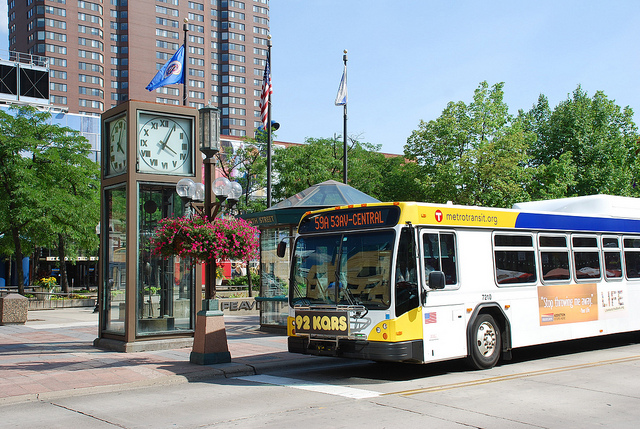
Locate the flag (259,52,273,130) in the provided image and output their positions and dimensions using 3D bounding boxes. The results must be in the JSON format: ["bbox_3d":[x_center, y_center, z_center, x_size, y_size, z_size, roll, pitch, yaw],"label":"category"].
[{"bbox_3d":[-2.481,-5.707,30.004,0.444,3.492,1.498,-1,1,-5],"label":"flag"}]

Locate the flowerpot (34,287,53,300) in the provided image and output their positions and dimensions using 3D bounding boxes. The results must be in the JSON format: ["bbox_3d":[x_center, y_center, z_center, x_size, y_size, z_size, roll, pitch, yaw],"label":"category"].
[{"bbox_3d":[-16.710,4.875,39.943,1.178,0.785,0.627,-1,-6,7],"label":"flowerpot"}]

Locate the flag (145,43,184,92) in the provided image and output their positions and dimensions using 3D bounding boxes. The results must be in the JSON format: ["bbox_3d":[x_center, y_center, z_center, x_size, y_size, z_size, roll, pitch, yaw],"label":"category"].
[{"bbox_3d":[-5.713,-5.261,24.908,1.254,1.828,1.686,3,-2,-20],"label":"flag"}]

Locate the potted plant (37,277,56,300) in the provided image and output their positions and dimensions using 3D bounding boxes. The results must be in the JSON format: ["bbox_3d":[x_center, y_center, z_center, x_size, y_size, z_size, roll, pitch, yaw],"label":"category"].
[{"bbox_3d":[-16.649,4.565,40.981,1.530,1.461,1.200,-1,-5,11],"label":"potted plant"}]

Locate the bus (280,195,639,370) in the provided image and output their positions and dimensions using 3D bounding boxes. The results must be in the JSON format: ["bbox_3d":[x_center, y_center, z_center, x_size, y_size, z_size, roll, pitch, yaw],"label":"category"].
[{"bbox_3d":[4.870,1.774,19.532,11.986,4.582,3.090,-1,1,-31],"label":"bus"}]
